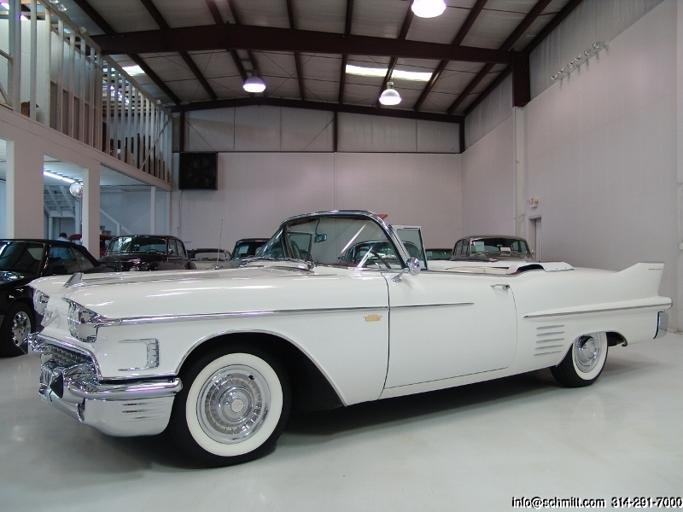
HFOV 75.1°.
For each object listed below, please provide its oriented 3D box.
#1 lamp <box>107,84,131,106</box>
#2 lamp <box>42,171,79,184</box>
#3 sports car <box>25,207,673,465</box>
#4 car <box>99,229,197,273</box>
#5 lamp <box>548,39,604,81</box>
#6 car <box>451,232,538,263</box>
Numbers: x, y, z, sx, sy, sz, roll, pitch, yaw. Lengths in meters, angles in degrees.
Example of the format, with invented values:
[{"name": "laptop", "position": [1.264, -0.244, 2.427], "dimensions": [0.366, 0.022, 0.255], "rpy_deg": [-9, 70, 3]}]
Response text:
[{"name": "lamp", "position": [-6.254, -4.572, 12.681], "dimensions": [0.525, 0.630, 2.317], "rpy_deg": [-4, 10, -26]}, {"name": "lamp", "position": [-7.957, -2.242, 12.435], "dimensions": [0.146, 0.105, 0.696], "rpy_deg": [2, -4, 11]}, {"name": "sports car", "position": [0.044, 0.564, 3.448], "dimensions": [3.433, 1.143, 2.161], "rpy_deg": [0, -3, -23]}, {"name": "car", "position": [-3.942, -0.073, 8.988], "dimensions": [1.110, 0.974, 2.052], "rpy_deg": [-1, -5, 17]}, {"name": "lamp", "position": [4.720, -3.891, 8.845], "dimensions": [0.092, 0.228, 1.091], "rpy_deg": [-24, -1, -11]}, {"name": "car", "position": [3.052, -0.180, 9.009], "dimensions": [1.586, 0.838, 0.962], "rpy_deg": [-1, 3, 1]}]
